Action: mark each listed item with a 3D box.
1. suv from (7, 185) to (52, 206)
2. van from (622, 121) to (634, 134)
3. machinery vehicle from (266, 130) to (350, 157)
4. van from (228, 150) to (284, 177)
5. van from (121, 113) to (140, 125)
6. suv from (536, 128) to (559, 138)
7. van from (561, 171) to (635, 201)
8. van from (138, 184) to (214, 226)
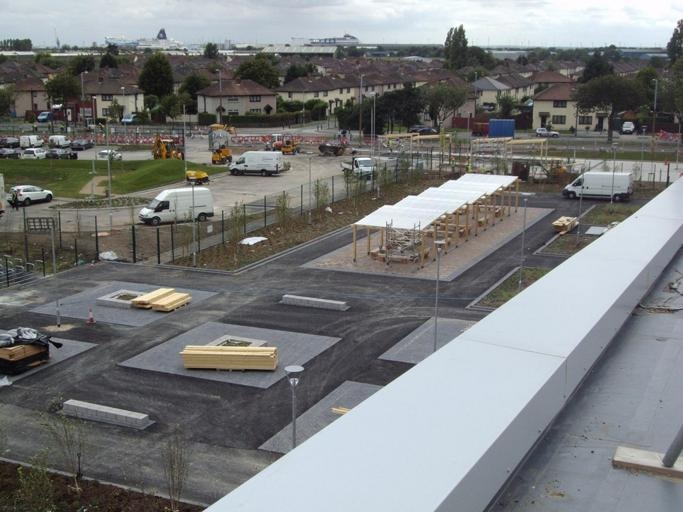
[{"bbox_3d":[-23.216,-4.596,59.626,1.469,1.122,3.083,12,18,34],"label":"suv"},{"bbox_3d":[39.868,-17.710,110.624,1.342,1.157,2.387,7,21,34],"label":"van"},{"bbox_3d":[-3.821,-13.624,94.894,9.245,1.826,16.048,-2,14,0],"label":"machinery vehicle"},{"bbox_3d":[-7.807,-8.669,74.613,4.482,1.946,2.201,3,13,9],"label":"van"},{"bbox_3d":[-32.080,-20.741,121.146,2.270,1.316,3.153,4,16,2],"label":"van"},{"bbox_3d":[27.613,-16.367,107.025,3.020,1.373,2.189,2,16,17],"label":"suv"},{"bbox_3d":[19.569,-5.219,60.403,4.574,2.140,1.858,3,15,18],"label":"van"},{"bbox_3d":[-11.048,-3.541,53.510,4.870,2.322,2.136,-8,27,-35],"label":"van"}]
